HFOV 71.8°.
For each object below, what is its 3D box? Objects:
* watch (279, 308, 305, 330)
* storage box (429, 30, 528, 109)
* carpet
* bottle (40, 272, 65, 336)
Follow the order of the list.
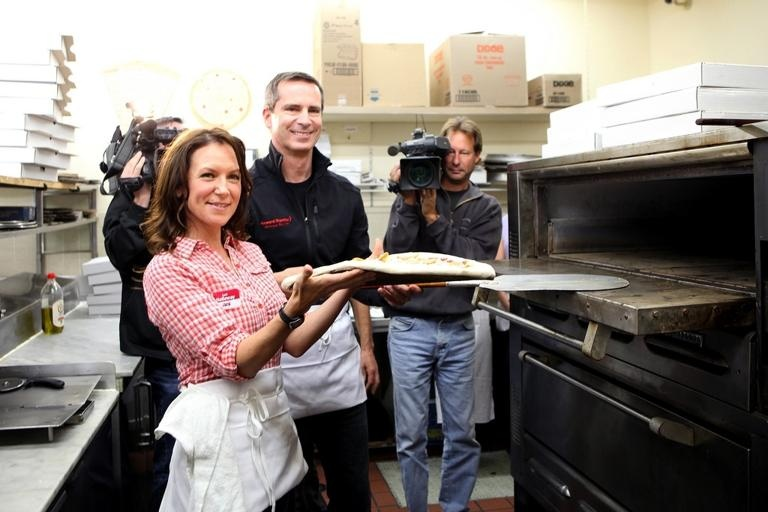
[{"bbox_3d":[-0.285,0.193,1.615,0.069,0.027,0.059,43,38,6],"label":"watch"},{"bbox_3d":[0.963,-1.504,4.274,0.761,0.473,0.770,-21,28,-41],"label":"storage box"},{"bbox_3d":[0.342,1.268,2.995,0.581,0.006,0.648,-1,-1,-16],"label":"carpet"},{"bbox_3d":[-1.887,0.260,2.997,0.129,0.348,0.172,-11,13,-34],"label":"bottle"}]
